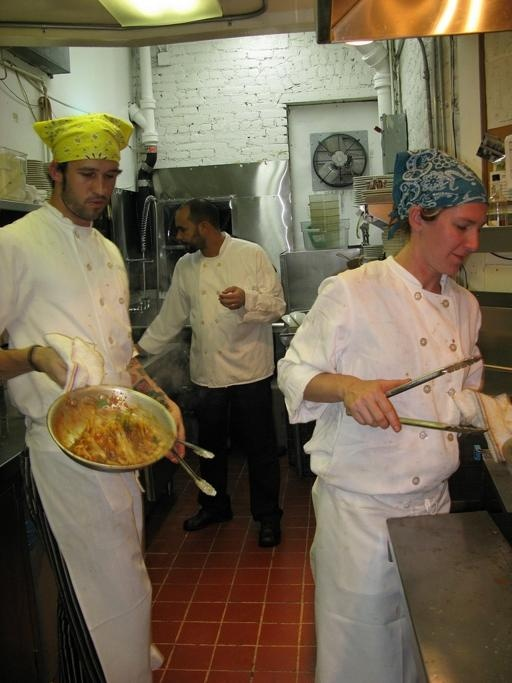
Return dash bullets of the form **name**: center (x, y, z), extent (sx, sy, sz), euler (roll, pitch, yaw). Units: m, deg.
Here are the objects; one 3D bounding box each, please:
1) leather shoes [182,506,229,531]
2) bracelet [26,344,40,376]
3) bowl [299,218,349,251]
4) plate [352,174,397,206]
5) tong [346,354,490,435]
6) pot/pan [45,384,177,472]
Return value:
- **leather shoes**: center (-0.257, 0.926, 2.962), extent (0.258, 0.087, 0.087), euler (-4, 10, -16)
- **bracelet**: center (-0.499, 0.038, 1.270), extent (0.029, 0.055, 0.043), euler (-12, 12, -30)
- **bowl**: center (0.565, -0.861, 4.565), extent (0.422, 0.225, 0.273), euler (-1, 5, 4)
- **plate**: center (0.587, -0.718, 2.825), extent (0.232, 0.092, 0.279), euler (-1, 7, 10)
- **tong**: center (0.330, 0.069, 1.067), extent (0.222, 0.112, 0.023), euler (-8, 10, -16)
- **pot/pan**: center (-0.327, 0.196, 1.294), extent (0.299, 0.203, 0.218), euler (-10, 11, -26)
